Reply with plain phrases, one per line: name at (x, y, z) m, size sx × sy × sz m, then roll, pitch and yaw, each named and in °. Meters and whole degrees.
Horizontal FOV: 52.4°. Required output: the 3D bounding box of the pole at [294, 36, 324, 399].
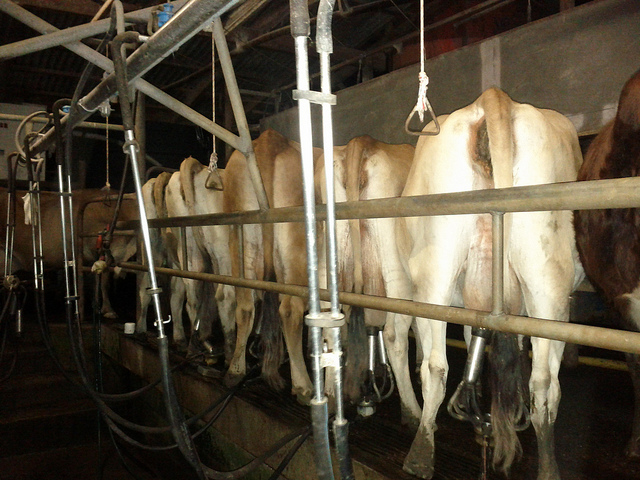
pole at (-0.051, -0.115, 3.478) m, size 0.194 × 1.893 × 0.274 m, roll 1°, pitch 4°, yaw -2°

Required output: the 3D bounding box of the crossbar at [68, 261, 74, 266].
crossbar at (-1.837, 0.170, 4.794) m, size 0.039 × 0.052 × 0.052 m, roll 0°, pitch -4°, yaw -16°

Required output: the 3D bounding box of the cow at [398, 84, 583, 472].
cow at (1.149, 0.263, 4.483) m, size 1.213 × 2.592 × 0.951 m, roll 3°, pitch 4°, yaw 22°

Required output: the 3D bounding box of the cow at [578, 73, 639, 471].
cow at (2.034, 0.202, 4.540) m, size 0.482 × 2.666 × 0.351 m, roll 3°, pitch 4°, yaw 22°

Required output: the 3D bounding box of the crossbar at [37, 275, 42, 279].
crossbar at (-2.220, 0.287, 5.152) m, size 0.025 × 0.036 × 0.077 m, roll -1°, pitch 5°, yaw -38°

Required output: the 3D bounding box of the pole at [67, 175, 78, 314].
pole at (-2.328, 0.065, 6.127) m, size 0.079 × 1.773 × 0.089 m, roll 1°, pitch 4°, yaw 2°
